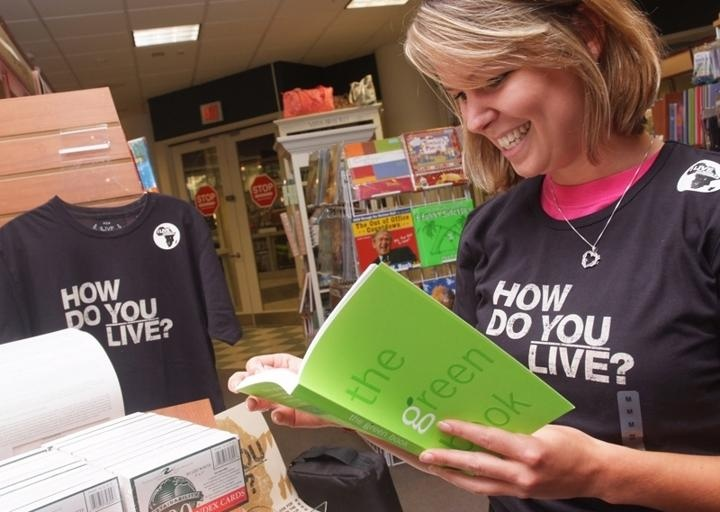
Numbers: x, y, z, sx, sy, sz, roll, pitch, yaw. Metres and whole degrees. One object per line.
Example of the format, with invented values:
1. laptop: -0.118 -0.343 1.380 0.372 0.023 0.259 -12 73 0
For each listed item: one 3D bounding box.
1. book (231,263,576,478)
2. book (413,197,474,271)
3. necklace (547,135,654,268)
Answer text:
1. book: 0.073 0.180 0.775 0.364 0.400 0.145 -40 31 33
2. book: 0.493 -0.147 3.256 0.404 0.421 0.406 -7 8 -15
3. necklace: 0.519 -0.071 1.067 0.052 0.188 0.196 32 -28 -17
